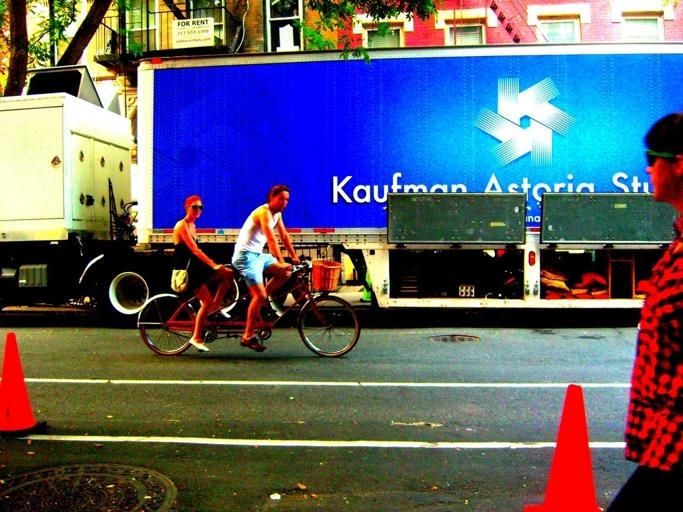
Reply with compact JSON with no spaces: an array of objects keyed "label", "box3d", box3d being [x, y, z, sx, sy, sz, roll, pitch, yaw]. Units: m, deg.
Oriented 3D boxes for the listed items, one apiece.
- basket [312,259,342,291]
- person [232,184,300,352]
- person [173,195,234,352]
[{"label":"basket","box3d":[-0.222,0.303,14.107,0.497,0.395,0.460,0,9,-38]},{"label":"person","box3d":[-1.131,0.265,14.381,0.940,2.678,1.296,-1,15,-4]},{"label":"person","box3d":[-2.064,0.364,14.319,0.751,2.429,0.710,-5,16,-19]}]
